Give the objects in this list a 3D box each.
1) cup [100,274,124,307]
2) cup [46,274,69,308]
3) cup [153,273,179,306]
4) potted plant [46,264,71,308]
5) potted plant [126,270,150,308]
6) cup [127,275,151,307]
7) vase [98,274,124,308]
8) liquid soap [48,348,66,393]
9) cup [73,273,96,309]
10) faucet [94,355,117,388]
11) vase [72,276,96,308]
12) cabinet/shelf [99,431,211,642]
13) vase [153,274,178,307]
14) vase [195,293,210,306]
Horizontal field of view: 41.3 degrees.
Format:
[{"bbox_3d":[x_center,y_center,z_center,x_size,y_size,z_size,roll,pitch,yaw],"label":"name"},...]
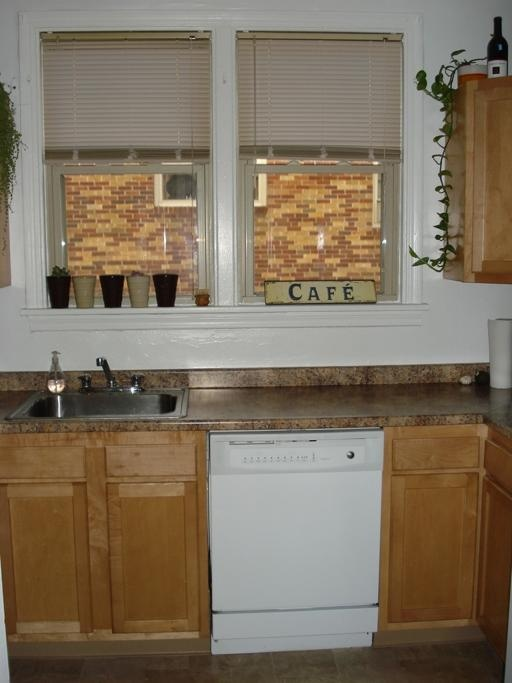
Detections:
[{"bbox_3d":[-0.578,-0.209,2.786,0.110,0.139,0.118,2,3,0],"label":"cup"},{"bbox_3d":[-0.791,-0.200,2.702,0.114,0.135,0.114,0,2,0],"label":"cup"},{"bbox_3d":[-0.369,-0.208,2.749,0.113,0.136,0.118,1,7,0],"label":"cup"},{"bbox_3d":[-0.798,-0.225,2.736,0.092,0.166,0.095,0,7,-15],"label":"potted plant"},{"bbox_3d":[-0.479,-0.209,2.747,0.121,0.155,0.124,0,7,-11],"label":"potted plant"},{"bbox_3d":[-0.479,-0.202,2.746,0.112,0.137,0.112,1,6,0],"label":"cup"},{"bbox_3d":[-0.581,-0.205,2.787,0.112,0.141,0.119,2,3,2],"label":"vase"},{"bbox_3d":[-0.791,0.116,2.652,0.068,0.168,0.250,-5,9,-17],"label":"liquid soap"},{"bbox_3d":[-0.696,-0.198,2.723,0.112,0.139,0.119,0,2,0],"label":"cup"},{"bbox_3d":[-0.582,0.122,2.605,0.053,0.068,0.165,-4,-22,4],"label":"faucet"},{"bbox_3d":[-0.693,-0.203,2.782,0.110,0.136,0.117,1,9,-6],"label":"vase"},{"bbox_3d":[-0.316,0.672,2.408,0.343,0.707,0.322,-3,-8,9],"label":"cabinet/shelf"},{"bbox_3d":[-0.369,-0.211,2.815,0.117,0.140,0.119,5,6,36],"label":"vase"},{"bbox_3d":[-0.222,-0.170,2.770,0.051,0.041,0.049,0,0,-1],"label":"vase"}]
